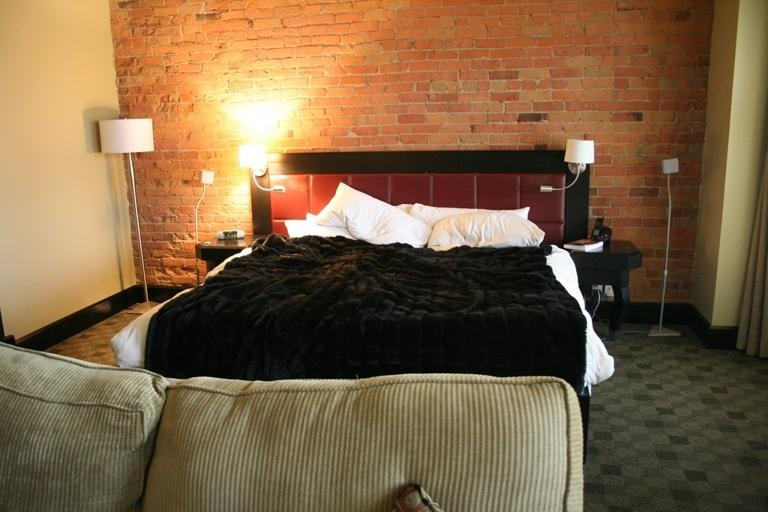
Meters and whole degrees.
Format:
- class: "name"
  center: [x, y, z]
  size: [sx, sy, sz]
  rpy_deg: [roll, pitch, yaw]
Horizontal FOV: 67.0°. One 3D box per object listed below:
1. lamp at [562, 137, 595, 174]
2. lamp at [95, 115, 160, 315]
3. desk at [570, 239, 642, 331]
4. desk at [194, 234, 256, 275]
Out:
- class: "lamp"
  center: [1.713, -0.863, 5.055]
  size: [0.296, 0.290, 0.279]
  rpy_deg: [6, 14, 20]
- class: "lamp"
  center: [-2.408, -0.459, 5.669]
  size: [0.521, 1.718, 0.517]
  rpy_deg: [3, 13, 39]
- class: "desk"
  center: [1.892, 0.217, 5.290]
  size: [0.803, 0.730, 0.757]
  rpy_deg: [2, 11, 17]
- class: "desk"
  center: [-1.533, 0.055, 5.523]
  size: [0.556, 0.249, 0.347]
  rpy_deg: [0, 16, -2]
